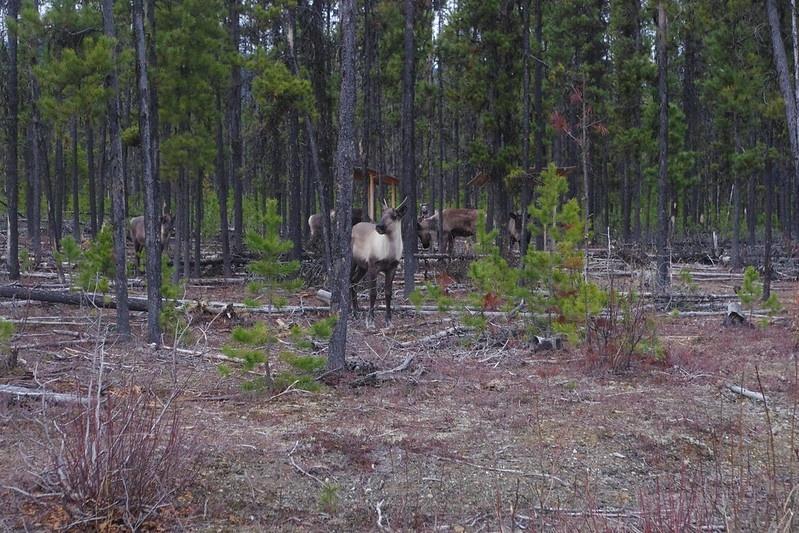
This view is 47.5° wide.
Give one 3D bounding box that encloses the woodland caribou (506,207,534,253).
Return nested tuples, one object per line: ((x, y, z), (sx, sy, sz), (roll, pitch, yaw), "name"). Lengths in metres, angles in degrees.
((4.680, -1.526, 34.684), (0.838, 1.927, 2.075), (-2, -1, -3), "woodland caribou")

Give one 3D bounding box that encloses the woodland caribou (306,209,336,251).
((-3.267, -1.884, 36.209), (0.546, 1.871, 1.635), (-6, 15, -27), "woodland caribou")

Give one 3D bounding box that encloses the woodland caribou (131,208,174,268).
((-8.969, -0.944, 32.845), (2.754, 2.362, 0.677), (8, 17, 40), "woodland caribou")

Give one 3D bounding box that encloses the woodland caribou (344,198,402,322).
((-0.762, -0.189, 26.492), (1.051, 3.723, 3.500), (-3, 7, -26), "woodland caribou")
